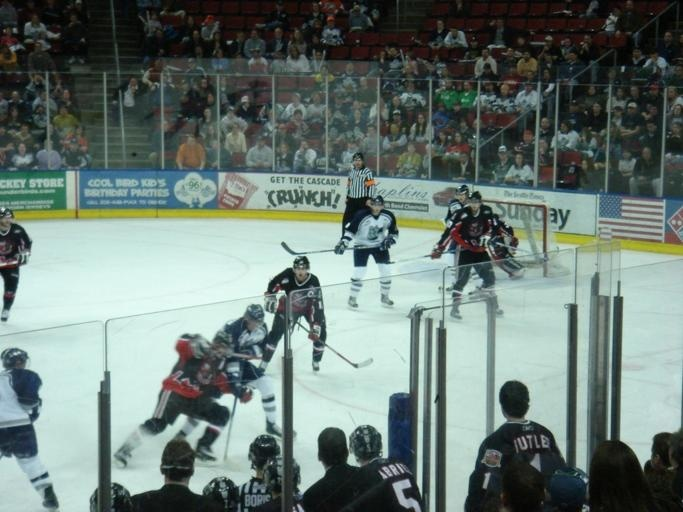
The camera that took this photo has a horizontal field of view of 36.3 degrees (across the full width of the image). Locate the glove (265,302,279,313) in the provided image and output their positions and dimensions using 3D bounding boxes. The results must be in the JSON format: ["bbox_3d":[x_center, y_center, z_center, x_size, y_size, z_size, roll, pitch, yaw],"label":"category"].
[{"bbox_3d":[-0.490,0.358,7.348,0.093,0.081,0.062,5,-1,1],"label":"glove"}]

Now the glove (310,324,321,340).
[{"bbox_3d":[-0.183,0.533,7.351,0.080,0.095,0.039,11,-5,-31],"label":"glove"}]

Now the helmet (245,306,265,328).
[{"bbox_3d":[-0.610,0.421,7.255,0.121,0.125,0.138,2,-1,-27],"label":"helmet"}]

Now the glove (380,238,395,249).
[{"bbox_3d":[0.614,-0.165,13.748,0.125,0.109,0.157,0,0,-2],"label":"glove"}]

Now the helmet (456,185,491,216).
[{"bbox_3d":[1.667,-0.666,13.459,0.336,0.483,0.262,-1,6,19],"label":"helmet"}]

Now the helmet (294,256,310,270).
[{"bbox_3d":[-0.436,0.081,10.993,0.168,0.145,0.125,-5,11,15],"label":"helmet"}]

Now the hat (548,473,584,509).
[{"bbox_3d":[1.578,1.625,7.205,0.239,0.237,0.189,2,6,12],"label":"hat"}]

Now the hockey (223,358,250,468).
[{"bbox_3d":[-0.729,1.185,7.253,0.077,0.517,0.079,11,-2,3],"label":"hockey"}]

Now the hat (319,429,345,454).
[{"bbox_3d":[-0.067,1.302,7.384,0.159,0.169,0.177,1,29,-3],"label":"hat"}]

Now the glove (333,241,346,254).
[{"bbox_3d":[0.012,-0.093,13.893,0.072,0.178,0.139,40,29,-26],"label":"glove"}]

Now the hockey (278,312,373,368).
[{"bbox_3d":[-0.141,0.587,7.362,0.621,0.105,0.054,33,44,10],"label":"hockey"}]

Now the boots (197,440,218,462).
[{"bbox_3d":[-0.948,1.361,7.210,0.196,0.127,0.065,2,8,28],"label":"boots"}]

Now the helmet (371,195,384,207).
[{"bbox_3d":[0.476,-0.715,13.476,0.126,0.143,0.141,7,-8,-8],"label":"helmet"}]

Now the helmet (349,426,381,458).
[{"bbox_3d":[0.148,1.333,7.656,0.215,0.232,0.250,1,21,-7],"label":"helmet"}]

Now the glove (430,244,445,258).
[{"bbox_3d":[1.157,-0.035,12.676,0.099,0.117,0.280,3,5,8],"label":"glove"}]

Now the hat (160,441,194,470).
[{"bbox_3d":[-1.118,1.372,7.161,0.186,0.214,0.212,7,-36,-10],"label":"hat"}]
